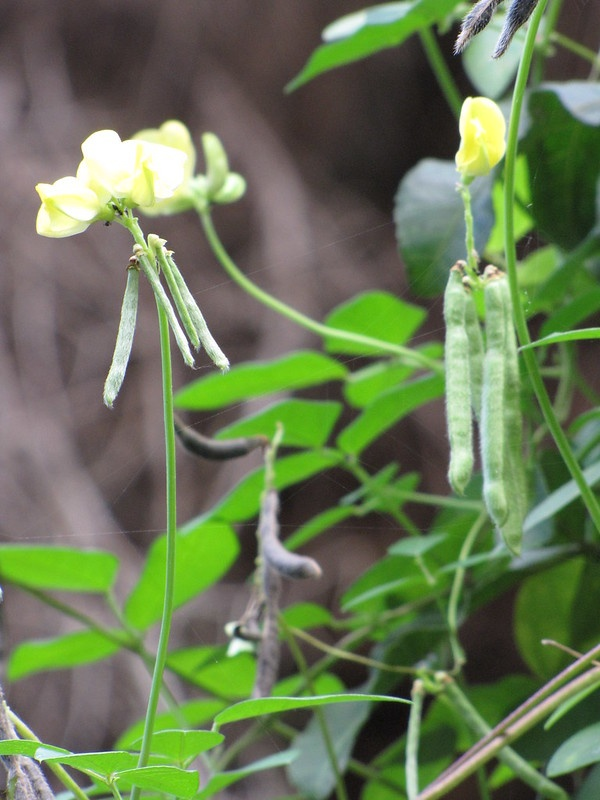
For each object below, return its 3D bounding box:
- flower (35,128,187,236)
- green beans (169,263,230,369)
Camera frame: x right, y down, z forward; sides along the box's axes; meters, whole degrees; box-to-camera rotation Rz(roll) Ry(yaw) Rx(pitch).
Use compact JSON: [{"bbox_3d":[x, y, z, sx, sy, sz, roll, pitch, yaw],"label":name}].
[{"bbox_3d":[-0.095,-0.110,0.509,0.070,0.029,0.062,3,27,36],"label":"flower"},{"bbox_3d":[-0.066,-0.047,0.511,0.009,0.077,0.019,-45,-25,23],"label":"green beans"}]
